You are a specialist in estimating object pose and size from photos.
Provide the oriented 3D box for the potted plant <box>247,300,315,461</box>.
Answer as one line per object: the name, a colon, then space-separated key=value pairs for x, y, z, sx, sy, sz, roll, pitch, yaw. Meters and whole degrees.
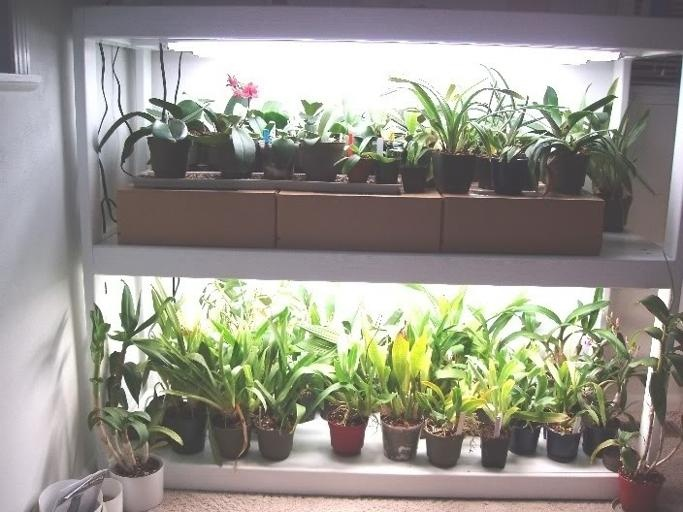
potted plant: x=-0.215 y=0.473 z=2.061 sx=0.226 sy=0.571 sz=0.343 roll=1 pitch=4 yaw=-3

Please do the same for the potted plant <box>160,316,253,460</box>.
potted plant: x=-0.433 y=0.495 z=2.148 sx=0.393 sy=0.472 sz=0.424 roll=1 pitch=5 yaw=8

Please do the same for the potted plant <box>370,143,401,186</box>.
potted plant: x=0.147 y=-0.325 z=1.883 sx=0.101 sy=0.134 sz=0.125 roll=-1 pitch=18 yaw=-1

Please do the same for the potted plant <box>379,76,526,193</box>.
potted plant: x=0.402 y=-0.384 z=2.023 sx=0.418 sy=0.353 sz=0.462 roll=1 pitch=11 yaw=-6

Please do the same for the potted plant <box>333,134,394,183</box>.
potted plant: x=0.088 y=-0.336 z=1.885 sx=0.166 sy=0.138 sz=0.182 roll=-2 pitch=14 yaw=-1

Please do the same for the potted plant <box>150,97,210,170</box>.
potted plant: x=-0.567 y=-0.388 z=1.853 sx=0.236 sy=0.188 sz=0.217 roll=8 pitch=11 yaw=44

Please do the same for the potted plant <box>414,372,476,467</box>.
potted plant: x=0.372 y=0.592 z=2.106 sx=0.234 sy=0.420 sz=0.323 roll=1 pitch=10 yaw=9

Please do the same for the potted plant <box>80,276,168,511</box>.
potted plant: x=-0.774 y=0.485 z=2.011 sx=0.299 sy=0.796 sz=0.521 roll=0 pitch=4 yaw=-23

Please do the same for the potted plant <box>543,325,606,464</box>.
potted plant: x=0.876 y=0.529 z=2.068 sx=0.246 sy=0.506 sz=0.286 roll=2 pitch=4 yaw=3

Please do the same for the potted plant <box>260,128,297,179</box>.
potted plant: x=-0.224 y=-0.365 z=1.921 sx=0.110 sy=0.177 sz=0.169 roll=1 pitch=4 yaw=-10

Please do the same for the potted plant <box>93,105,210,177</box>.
potted plant: x=-0.656 y=-0.397 z=1.861 sx=0.275 sy=0.201 sz=0.289 roll=2 pitch=7 yaw=1

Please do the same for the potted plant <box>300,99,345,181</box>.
potted plant: x=-0.068 y=-0.420 z=1.983 sx=0.161 sy=0.296 sz=0.255 roll=1 pitch=4 yaw=-3

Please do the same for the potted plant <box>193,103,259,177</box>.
potted plant: x=-0.395 y=-0.387 z=1.919 sx=0.217 sy=0.172 sz=0.234 roll=1 pitch=1 yaw=22
